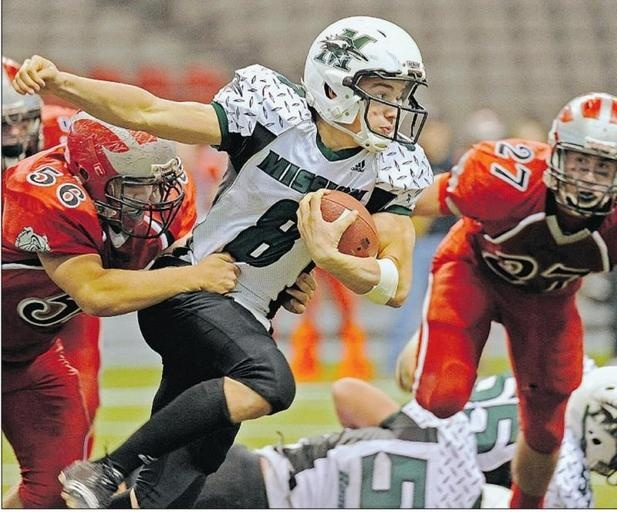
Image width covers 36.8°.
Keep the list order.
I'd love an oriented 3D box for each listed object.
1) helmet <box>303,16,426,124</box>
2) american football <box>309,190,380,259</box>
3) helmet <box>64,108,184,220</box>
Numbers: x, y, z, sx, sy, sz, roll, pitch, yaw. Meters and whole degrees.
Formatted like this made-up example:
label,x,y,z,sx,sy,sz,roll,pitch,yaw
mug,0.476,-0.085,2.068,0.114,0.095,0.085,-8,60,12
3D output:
label,x,y,z,sx,sy,sz,roll,pitch,yaw
helmet,0.268,-0.762,3.865,0.465,0.414,0.551,-8,22,-35
american football,0.177,-0.120,3.714,0.168,0.257,0.225,-29,22,-21
helmet,-0.810,-0.387,3.971,0.581,0.404,0.410,17,19,15
